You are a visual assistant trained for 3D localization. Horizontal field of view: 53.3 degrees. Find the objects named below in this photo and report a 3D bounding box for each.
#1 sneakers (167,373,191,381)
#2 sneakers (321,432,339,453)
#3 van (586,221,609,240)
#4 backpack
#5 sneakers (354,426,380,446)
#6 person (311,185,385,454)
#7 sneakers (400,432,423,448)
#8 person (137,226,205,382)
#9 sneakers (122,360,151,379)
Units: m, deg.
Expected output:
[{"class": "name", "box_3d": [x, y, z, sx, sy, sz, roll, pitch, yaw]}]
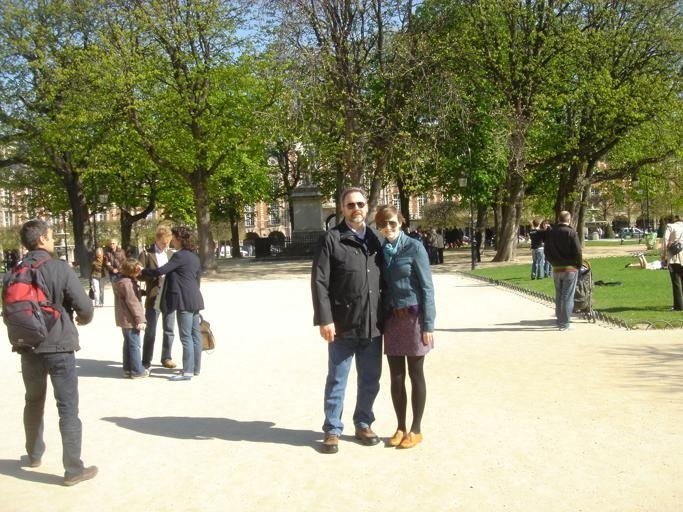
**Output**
[{"class": "sneakers", "box_3d": [-2.381, 1.794, 9.988, 0.309, 0.140, 0.117, 7, 2, -6]}, {"class": "sneakers", "box_3d": [-0.108, 1.942, 7.082, 0.225, 0.184, 0.211, -3, 3, -20]}, {"class": "van", "box_3d": [30.873, -3.062, 82.056, 2.870, 2.140, 2.822, 1, 7, 13]}, {"class": "backpack", "box_3d": [-3.002, 0.437, 6.623, 0.471, 0.852, 0.283, -3, 3, -18]}, {"class": "sneakers", "box_3d": [0.275, 1.928, 7.224, 0.132, 0.116, 0.250, 0, -7, -23]}, {"class": "person", "box_3d": [0.084, 0.651, 7.198, 0.793, 2.731, 0.469, -2, 3, -7]}, {"class": "sneakers", "box_3d": [0.718, 1.930, 7.080, 0.100, 0.118, 0.286, -5, -10, 29]}, {"class": "person", "box_3d": [-2.414, 0.685, 10.069, 0.704, 2.246, 0.464, -3, 3, -14]}, {"class": "sneakers", "box_3d": [-3.066, 1.732, 10.302, 0.170, 0.189, 0.416, 2, 2, 28]}]
